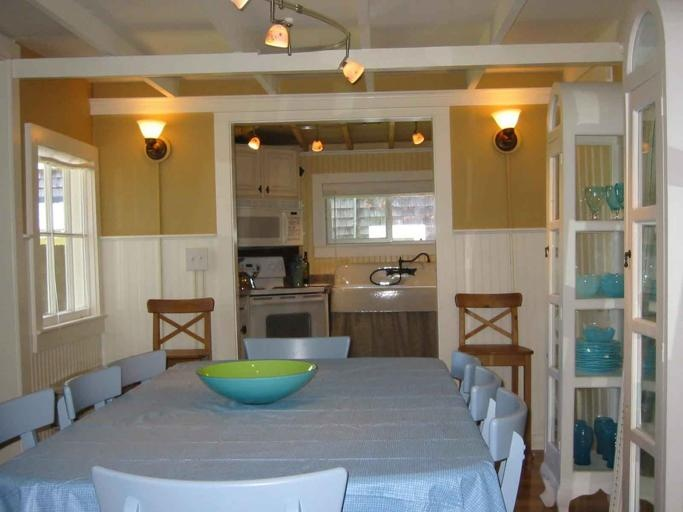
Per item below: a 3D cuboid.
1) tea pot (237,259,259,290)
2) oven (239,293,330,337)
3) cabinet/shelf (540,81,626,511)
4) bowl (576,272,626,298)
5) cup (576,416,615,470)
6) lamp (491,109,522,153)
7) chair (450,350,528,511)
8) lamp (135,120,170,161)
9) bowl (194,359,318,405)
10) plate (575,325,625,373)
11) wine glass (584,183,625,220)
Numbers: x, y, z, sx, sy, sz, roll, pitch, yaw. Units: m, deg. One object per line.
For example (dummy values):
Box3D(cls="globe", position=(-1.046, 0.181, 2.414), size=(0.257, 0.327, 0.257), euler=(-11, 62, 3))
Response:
Box3D(cls="tea pot", position=(-0.978, 0.204, 5.823), size=(0.184, 0.300, 0.302), euler=(0, -9, -2))
Box3D(cls="oven", position=(-0.553, 0.563, 5.423), size=(0.778, 0.628, 0.437), euler=(0, -4, -15))
Box3D(cls="cabinet/shelf", position=(1.363, 0.223, 3.180), size=(0.493, 2.418, 0.353), euler=(-1, 1, 33))
Box3D(cls="bowl", position=(1.442, 0.166, 3.081), size=(0.164, 0.090, 0.163), euler=(-1, -5, 0))
Box3D(cls="cup", position=(1.422, 1.049, 3.168), size=(0.284, 0.295, 0.215), euler=(-1, 2, 7))
Box3D(cls="lamp", position=(1.222, -0.918, 4.060), size=(0.218, 0.308, 0.197), euler=(-2, 1, 9))
Box3D(cls="chair", position=(0.542, 0.669, 2.156), size=(0.355, 0.585, 0.342), euler=(-2, 5, 1))
Box3D(cls="lamp", position=(-1.421, -0.872, 4.176), size=(0.235, 0.259, 0.217), euler=(-2, 1, -5))
Box3D(cls="bowl", position=(-0.355, 0.530, 2.332), size=(0.502, 0.115, 0.439), euler=(-2, 1, -5))
Box3D(cls="plate", position=(1.430, 0.519, 3.161), size=(0.253, 0.270, 0.254), euler=(0, -1, -41))
Box3D(cls="wine glass", position=(1.443, -0.302, 3.093), size=(0.269, 0.241, 0.156), euler=(0, 1, 10))
